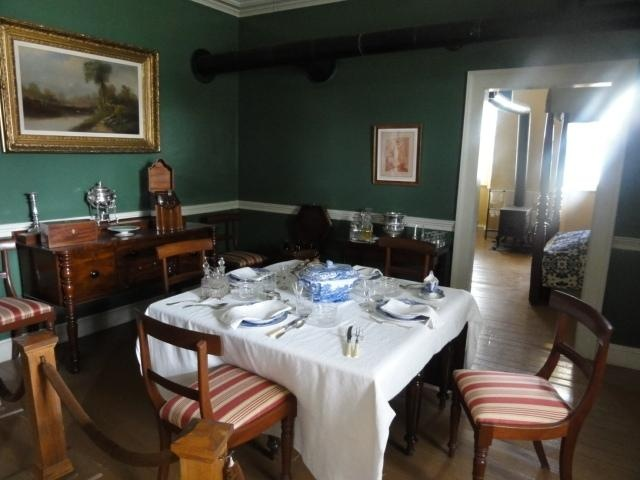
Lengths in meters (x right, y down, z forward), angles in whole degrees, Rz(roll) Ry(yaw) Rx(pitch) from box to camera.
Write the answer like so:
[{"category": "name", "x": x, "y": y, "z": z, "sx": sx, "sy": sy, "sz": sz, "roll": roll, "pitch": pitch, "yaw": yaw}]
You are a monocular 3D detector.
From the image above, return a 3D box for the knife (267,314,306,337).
[{"category": "knife", "x": -0.195, "y": 0.523, "z": 2.758, "sx": 0.075, "sy": 0.033, "sz": 0.290, "roll": 12, "pitch": 14, "yaw": 27}]

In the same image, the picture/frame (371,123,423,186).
[{"category": "picture/frame", "x": 0.848, "y": -0.947, "z": 4.973, "sx": 0.629, "sy": 0.740, "sz": 0.056, "roll": 5, "pitch": 10, "yaw": 30}]

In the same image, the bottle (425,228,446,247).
[{"category": "bottle", "x": 1.173, "y": -0.052, "z": 4.778, "sx": 0.277, "sy": 0.213, "sz": 0.209, "roll": 4, "pitch": 9, "yaw": 39}]

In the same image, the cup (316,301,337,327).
[{"category": "cup", "x": 0.040, "y": 0.474, "z": 2.878, "sx": 0.105, "sy": 0.088, "sz": 0.121, "roll": -2, "pitch": 2, "yaw": -25}]

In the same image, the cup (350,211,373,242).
[{"category": "cup", "x": 0.459, "y": -0.138, "z": 5.053, "sx": 0.301, "sy": 0.435, "sz": 0.225, "roll": -1, "pitch": 8, "yaw": -13}]

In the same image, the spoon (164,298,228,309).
[{"category": "spoon", "x": -0.828, "y": 0.424, "z": 3.104, "sx": 0.399, "sy": 0.030, "sz": 0.139, "roll": 1, "pitch": 12, "yaw": 8}]

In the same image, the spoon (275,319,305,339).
[{"category": "spoon", "x": -0.182, "y": 0.521, "z": 2.764, "sx": 0.061, "sy": 0.040, "sz": 0.266, "roll": 12, "pitch": 15, "yaw": 21}]

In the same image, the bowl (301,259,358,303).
[{"category": "bowl", "x": 0.058, "y": 0.275, "z": 3.095, "sx": 0.309, "sy": 0.216, "sz": 0.294, "roll": -1, "pitch": 8, "yaw": 0}]

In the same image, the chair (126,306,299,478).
[{"category": "chair", "x": -0.564, "y": 0.841, "z": 2.605, "sx": 0.691, "sy": 1.186, "sz": 0.732, "roll": 15, "pitch": 24, "yaw": 38}]

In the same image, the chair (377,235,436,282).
[{"category": "chair", "x": 0.781, "y": 0.164, "z": 4.176, "sx": 0.319, "sy": 0.498, "sz": 0.333, "roll": 9, "pitch": 19, "yaw": 27}]

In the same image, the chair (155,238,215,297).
[{"category": "chair", "x": -1.191, "y": 0.223, "z": 4.023, "sx": 0.343, "sy": 0.583, "sz": 0.438, "roll": 19, "pitch": 23, "yaw": 40}]

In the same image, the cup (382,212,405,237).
[{"category": "cup", "x": 0.754, "y": -0.171, "z": 4.951, "sx": 0.245, "sy": 0.255, "sz": 0.248, "roll": -1, "pitch": 7, "yaw": 0}]

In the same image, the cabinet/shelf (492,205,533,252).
[{"category": "cabinet/shelf", "x": 3.673, "y": -0.232, "z": 8.774, "sx": 0.611, "sy": 0.809, "sz": 0.728, "roll": 4, "pitch": 13, "yaw": 23}]

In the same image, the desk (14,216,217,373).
[{"category": "desk", "x": -1.738, "y": 0.427, "z": 3.765, "sx": 0.446, "sy": 0.817, "sz": 1.239, "roll": 5, "pitch": 11, "yaw": 31}]
